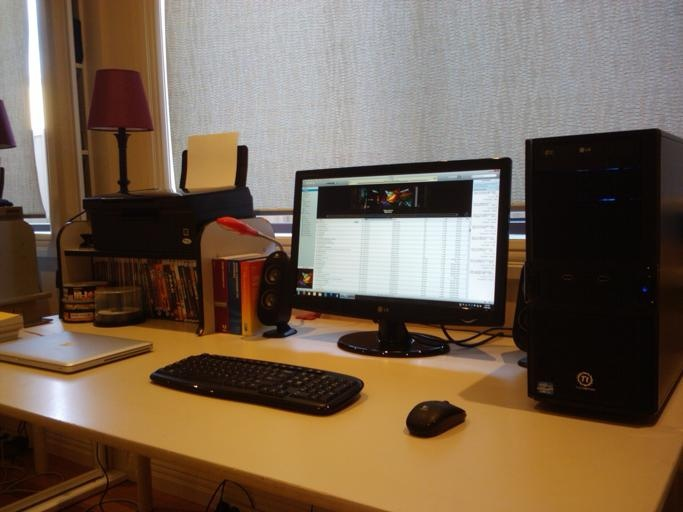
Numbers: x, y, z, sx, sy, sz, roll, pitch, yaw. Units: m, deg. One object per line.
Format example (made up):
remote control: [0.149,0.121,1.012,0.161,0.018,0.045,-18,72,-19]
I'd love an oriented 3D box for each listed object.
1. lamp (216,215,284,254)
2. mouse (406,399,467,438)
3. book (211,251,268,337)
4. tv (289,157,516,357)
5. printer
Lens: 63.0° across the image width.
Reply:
lamp: [-0.321,-0.079,1.919,0.215,0.131,0.272,-2,11,-12]
mouse: [0.204,0.335,1.198,0.102,0.054,0.163,2,5,32]
book: [-0.336,0.121,1.938,0.228,0.263,0.291,0,0,19]
tv: [0.180,0.005,1.618,0.636,0.476,0.257,3,3,29]
printer: [-0.586,-0.148,1.991,0.548,0.334,0.444,0,3,31]
